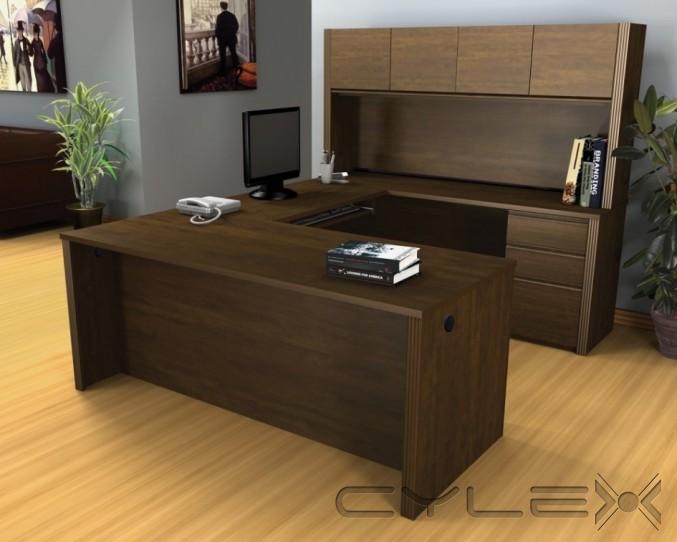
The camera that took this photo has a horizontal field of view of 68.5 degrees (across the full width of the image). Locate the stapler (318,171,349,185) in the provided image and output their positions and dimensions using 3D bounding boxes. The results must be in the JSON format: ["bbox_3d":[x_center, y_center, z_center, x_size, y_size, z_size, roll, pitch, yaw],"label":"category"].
[{"bbox_3d":[-0.017,-0.693,3.791,0.124,0.056,0.163,8,17,28],"label":"stapler"}]

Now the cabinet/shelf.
[{"bbox_3d":[0.905,-1.141,3.621,2.226,1.054,0.404,16,25,36],"label":"cabinet/shelf"}]

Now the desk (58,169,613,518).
[{"bbox_3d":[-0.158,0.289,2.484,2.066,0.784,1.930,9,19,34],"label":"desk"}]
